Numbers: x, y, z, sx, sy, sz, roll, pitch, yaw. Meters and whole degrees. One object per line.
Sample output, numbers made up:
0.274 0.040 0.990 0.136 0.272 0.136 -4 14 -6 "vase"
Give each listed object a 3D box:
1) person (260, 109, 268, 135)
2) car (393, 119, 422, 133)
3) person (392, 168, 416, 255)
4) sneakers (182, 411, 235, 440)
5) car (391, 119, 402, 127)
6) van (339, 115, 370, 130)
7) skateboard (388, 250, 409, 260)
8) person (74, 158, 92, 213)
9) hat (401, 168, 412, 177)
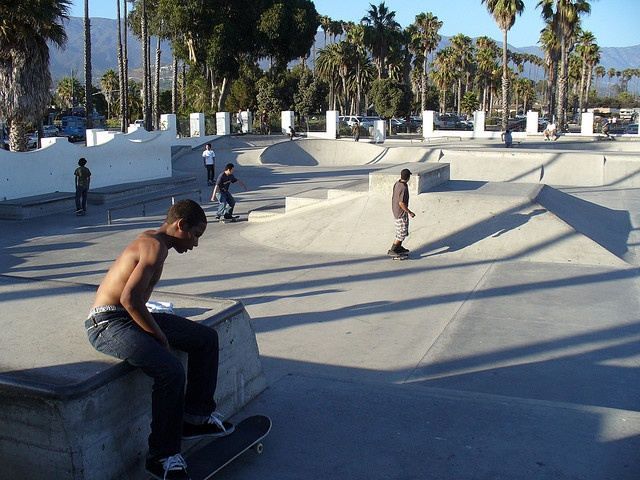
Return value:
-3.421 -7.199 37.584 0.436 1.298 1.062 -1 12 -6 "person"
7.806 -10.516 56.451 1.610 0.918 2.796 3 4 19 "car"
1.477 -0.494 11.046 0.404 1.589 1.120 1 12 9 "person"
-0.876 1.475 4.885 0.443 0.210 0.165 -2 8 -15 "sneakers"
7.142 -10.849 55.919 0.931 0.651 2.470 3 13 14 "car"
2.393 -8.617 45.856 2.539 1.010 1.278 9 20 35 "van"
1.446 0.268 11.204 0.357 0.181 0.139 -1 8 22 "skateboard"
-6.155 -1.404 15.811 0.387 1.496 1.737 -5 13 -21 "person"
1.510 -1.169 10.763 0.144 0.149 0.259 1 12 7 "hat"
